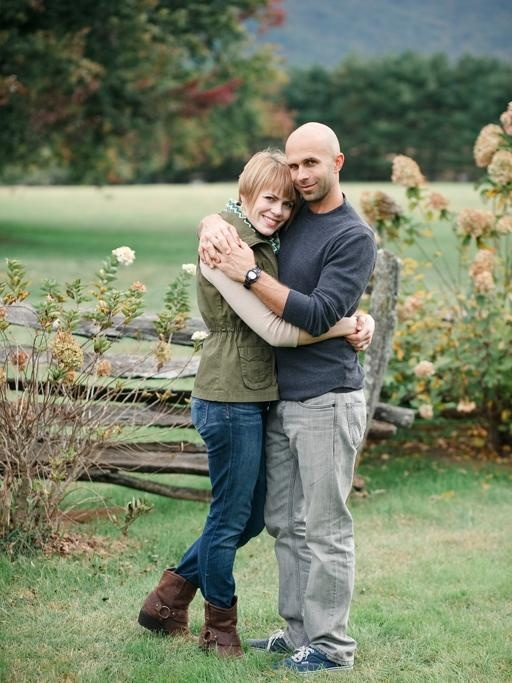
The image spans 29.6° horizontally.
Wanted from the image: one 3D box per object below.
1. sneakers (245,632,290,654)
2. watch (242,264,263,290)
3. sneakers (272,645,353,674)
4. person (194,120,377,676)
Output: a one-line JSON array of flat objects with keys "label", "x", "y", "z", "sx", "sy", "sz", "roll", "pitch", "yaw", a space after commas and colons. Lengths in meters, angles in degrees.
[{"label": "sneakers", "x": 0.075, "y": 1.534, "z": 4.901, "sx": 0.229, "sy": 0.071, "sz": 0.086, "roll": 3, "pitch": -12, "yaw": 21}, {"label": "watch", "x": -0.019, "y": -0.292, "z": 4.458, "sx": 0.065, "sy": 0.100, "sz": 0.091, "roll": 39, "pitch": 4, "yaw": 18}, {"label": "sneakers", "x": 0.266, "y": 1.541, "z": 4.671, "sx": 0.380, "sy": 0.117, "sz": 0.117, "roll": 4, "pitch": -16, "yaw": -1}, {"label": "person", "x": 0.177, "y": 0.284, "z": 4.631, "sx": 0.797, "sy": 2.594, "sz": 0.858, "roll": -1, "pitch": 16, "yaw": -2}]
